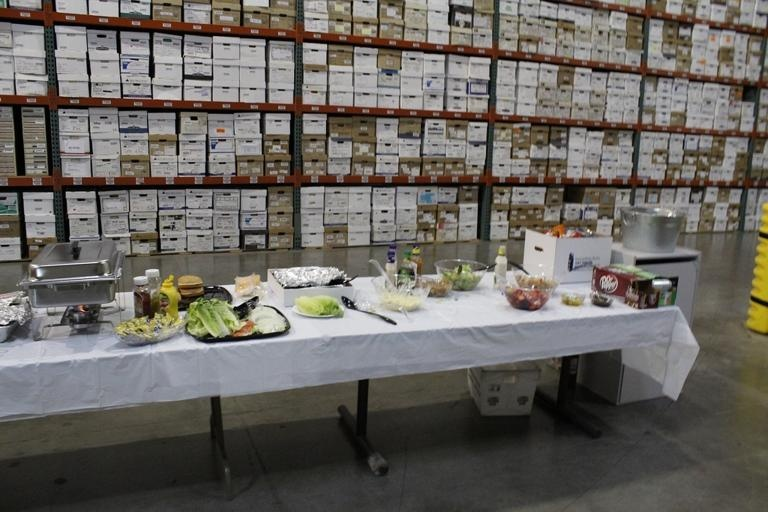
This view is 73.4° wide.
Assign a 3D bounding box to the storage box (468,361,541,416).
[{"bbox_3d":[0.826,0.854,3.484,0.372,0.221,0.361,-2,9,-6],"label":"storage box"}]

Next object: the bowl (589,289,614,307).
[{"bbox_3d":[1.255,0.240,2.967,0.096,0.065,0.093,1,5,0],"label":"bowl"}]

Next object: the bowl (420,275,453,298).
[{"bbox_3d":[0.305,0.181,3.037,0.147,0.075,0.146,1,8,0],"label":"bowl"}]

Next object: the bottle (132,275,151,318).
[{"bbox_3d":[-1.173,0.196,2.496,0.082,0.200,0.173,-10,15,-28],"label":"bottle"}]

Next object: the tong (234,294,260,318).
[{"bbox_3d":[-0.719,0.260,2.683,0.045,0.056,0.168,-45,-3,27],"label":"tong"}]

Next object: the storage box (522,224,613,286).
[{"bbox_3d":[1.192,-0.001,3.372,0.432,0.251,0.417,-1,12,-17],"label":"storage box"}]

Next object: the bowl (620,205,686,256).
[{"bbox_3d":[1.877,-0.186,3.646,0.332,0.217,0.370,1,3,4],"label":"bowl"}]
